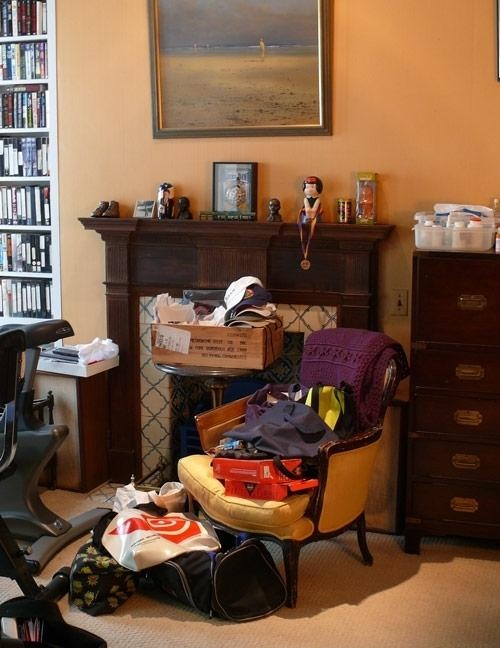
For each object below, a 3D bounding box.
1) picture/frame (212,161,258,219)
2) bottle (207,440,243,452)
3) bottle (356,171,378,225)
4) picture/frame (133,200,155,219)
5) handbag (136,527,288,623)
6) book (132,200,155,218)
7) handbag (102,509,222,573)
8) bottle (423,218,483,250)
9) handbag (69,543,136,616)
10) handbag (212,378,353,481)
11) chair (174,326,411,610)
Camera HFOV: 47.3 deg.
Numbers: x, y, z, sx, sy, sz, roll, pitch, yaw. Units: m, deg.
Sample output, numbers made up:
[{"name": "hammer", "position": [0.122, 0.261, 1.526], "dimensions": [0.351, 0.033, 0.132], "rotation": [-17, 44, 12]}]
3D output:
[{"name": "picture/frame", "position": [-0.065, -0.636, 2.700], "dimensions": [0.308, 0.341, 0.039], "rotation": [2, 2, 17]}, {"name": "bottle", "position": [-0.079, 0.434, 2.030], "dimensions": [0.106, 0.032, 0.074], "rotation": [0, 0, -39]}, {"name": "bottle", "position": [0.509, -0.552, 2.509], "dimensions": [0.078, 0.218, 0.051], "rotation": [3, 7, 14]}, {"name": "picture/frame", "position": [-0.524, -0.570, 2.837], "dimensions": [0.129, 0.103, 0.040], "rotation": [1, -17, 21]}, {"name": "handbag", "position": [-0.147, 0.795, 1.899], "dimensions": [0.366, 0.137, 0.266], "rotation": [-2, -3, 45]}, {"name": "book", "position": [-0.527, -0.574, 2.843], "dimensions": [0.124, 0.100, 0.039], "rotation": [1, -16, 20]}, {"name": "handbag", "position": [-0.297, 0.729, 1.945], "dimensions": [0.256, 0.067, 0.228], "rotation": [4, 4, -40]}, {"name": "bottle", "position": [0.749, -0.331, 2.121], "dimensions": [0.170, 0.066, 0.122], "rotation": [4, 8, 28]}, {"name": "handbag", "position": [-0.477, 0.841, 1.885], "dimensions": [0.168, 0.073, 0.219], "rotation": [11, 14, 37]}, {"name": "handbag", "position": [0.127, 0.367, 1.983], "dimensions": [0.391, 0.147, 0.318], "rotation": [-30, 24, -37]}, {"name": "chair", "position": [0.169, 0.460, 2.173], "dimensions": [0.608, 0.747, 0.862], "rotation": [9, 11, 44]}]
